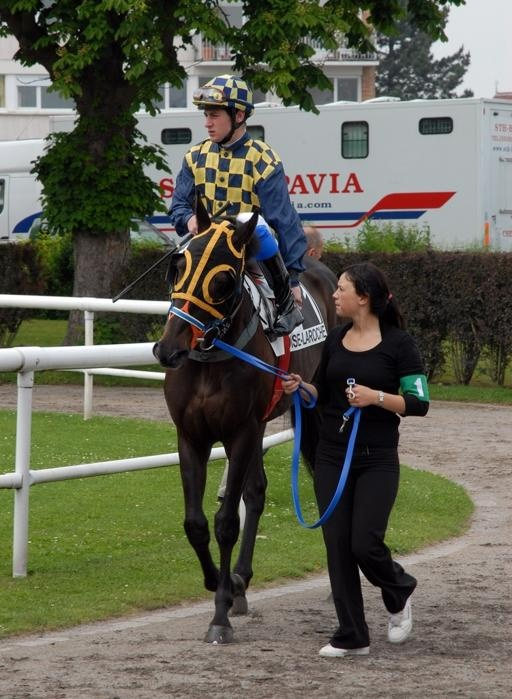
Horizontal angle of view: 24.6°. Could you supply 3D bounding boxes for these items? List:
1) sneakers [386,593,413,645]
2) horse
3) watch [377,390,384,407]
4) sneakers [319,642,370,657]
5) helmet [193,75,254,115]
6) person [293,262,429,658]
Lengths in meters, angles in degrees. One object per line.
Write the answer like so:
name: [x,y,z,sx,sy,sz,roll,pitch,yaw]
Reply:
sneakers: [0.564,1.037,4.585,0.065,0.082,0.189,-19,24,29]
horse: [-0.029,0.364,5.427,0.556,1.738,2.393,4,2,16]
watch: [0.474,0.191,4.445,0.028,0.042,0.041,2,31,4]
sneakers: [0.331,1.087,4.374,0.172,0.071,0.062,4,2,-11]
helmet: [-0.140,-1.099,5.156,0.220,0.124,0.159,5,-4,-35]
person: [0.402,0.399,4.572,0.539,1.433,0.556,-1,3,-5]
